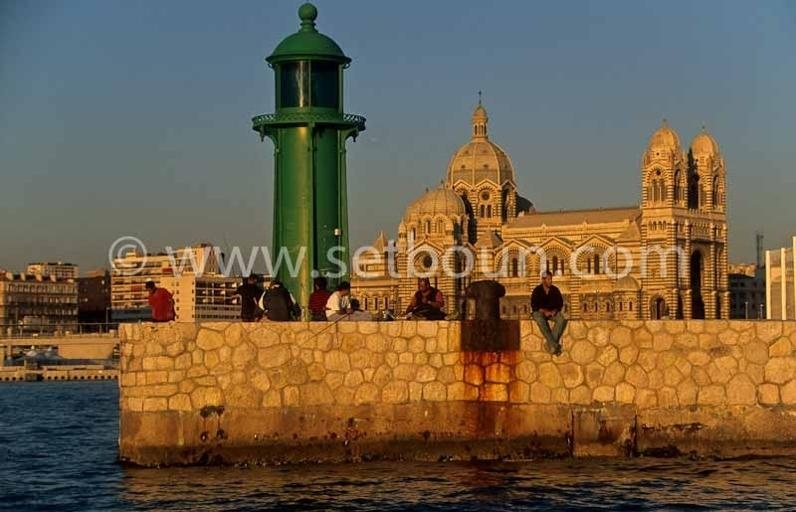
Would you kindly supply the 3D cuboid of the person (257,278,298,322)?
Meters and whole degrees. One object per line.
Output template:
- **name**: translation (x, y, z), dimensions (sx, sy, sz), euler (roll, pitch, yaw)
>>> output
- **person**: translation (-3.811, 1.391, 62.482), dimensions (1.241, 1.327, 1.470), euler (0, -5, -3)

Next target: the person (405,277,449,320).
- **person**: translation (0.813, 1.351, 62.078), dimensions (1.362, 1.384, 1.107), euler (2, 17, 24)

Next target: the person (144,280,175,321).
- **person**: translation (-7.467, 1.547, 61.872), dimensions (0.817, 1.571, 0.619), euler (-23, -38, 5)
